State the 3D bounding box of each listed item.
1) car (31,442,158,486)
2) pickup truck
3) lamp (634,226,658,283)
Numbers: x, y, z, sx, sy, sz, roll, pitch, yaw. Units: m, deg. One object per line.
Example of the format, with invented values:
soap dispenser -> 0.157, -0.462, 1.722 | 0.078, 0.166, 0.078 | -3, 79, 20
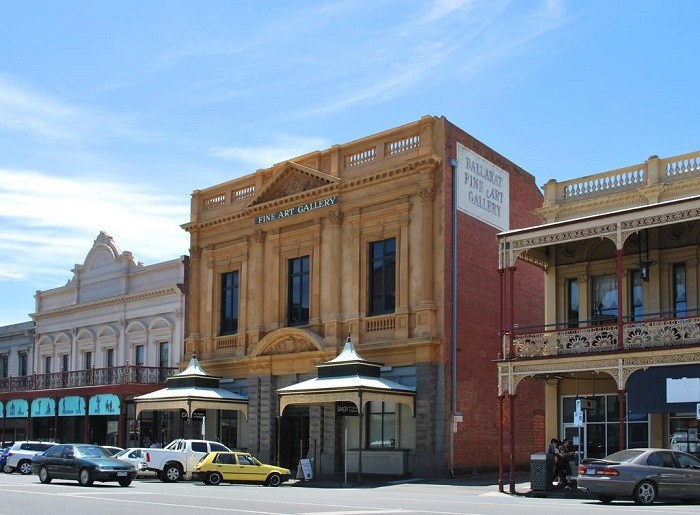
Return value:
car -> -10.403, 8.016, 45.796 | 4.100, 1.757, 1.302 | -12, -22, 32
pickup truck -> -6.376, 8.468, 49.534 | 4.859, 1.718, 2.129 | 1, -10, -15
lamp -> 11.742, -0.115, 47.173 | 0.648, 1.999, 1.518 | -5, -19, 13
